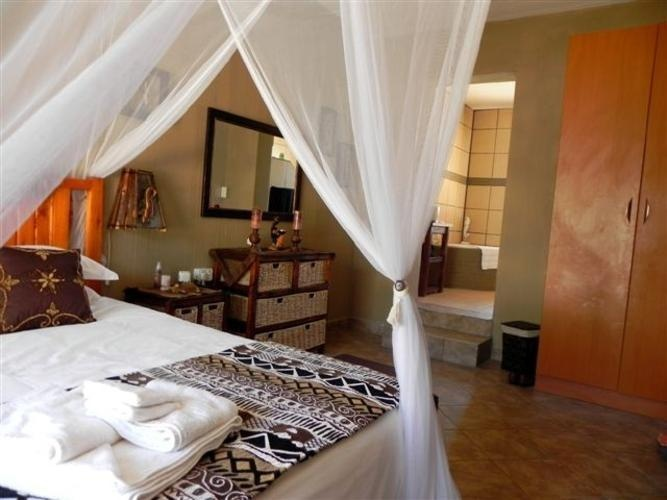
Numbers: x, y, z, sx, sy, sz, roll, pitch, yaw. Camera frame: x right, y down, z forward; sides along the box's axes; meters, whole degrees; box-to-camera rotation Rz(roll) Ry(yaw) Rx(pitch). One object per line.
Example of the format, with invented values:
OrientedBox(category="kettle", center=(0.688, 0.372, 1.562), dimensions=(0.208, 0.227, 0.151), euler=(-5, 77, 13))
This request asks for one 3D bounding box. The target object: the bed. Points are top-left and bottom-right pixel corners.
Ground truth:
OrientedBox(category="bed", center=(-0.661, 0.375, 2.474), dimensions=(0.905, 1.625, 1.649), euler=(2, 2, 34))

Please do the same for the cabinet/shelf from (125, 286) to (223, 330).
OrientedBox(category="cabinet/shelf", center=(-1.189, 0.316, 3.615), dimensions=(0.417, 0.430, 0.415), euler=(5, 6, 38))

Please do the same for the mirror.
OrientedBox(category="mirror", center=(-0.690, -0.731, 4.370), dimensions=(1.006, 0.884, 0.055), euler=(1, 4, -41))

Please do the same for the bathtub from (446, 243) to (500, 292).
OrientedBox(category="bathtub", center=(2.014, 0.180, 6.858), dimensions=(0.876, 0.576, 0.888), euler=(2, 10, 36))

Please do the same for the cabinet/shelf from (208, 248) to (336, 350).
OrientedBox(category="cabinet/shelf", center=(-0.545, 0.505, 4.385), dimensions=(0.615, 1.065, 0.993), euler=(9, 7, 43))
